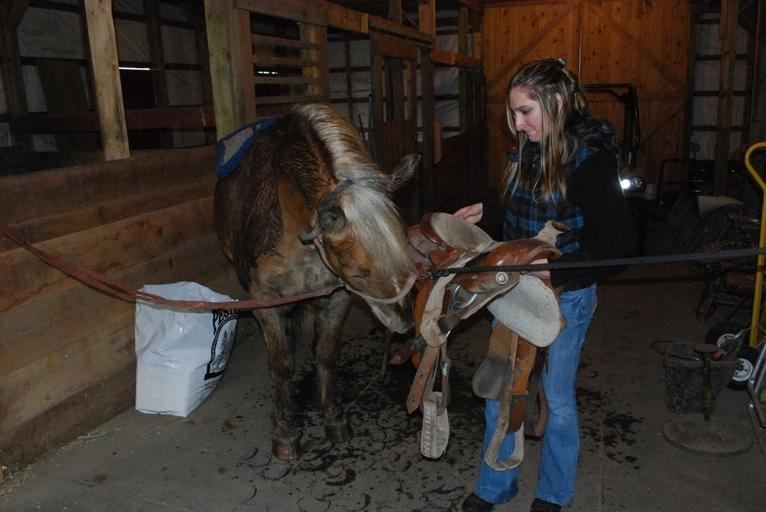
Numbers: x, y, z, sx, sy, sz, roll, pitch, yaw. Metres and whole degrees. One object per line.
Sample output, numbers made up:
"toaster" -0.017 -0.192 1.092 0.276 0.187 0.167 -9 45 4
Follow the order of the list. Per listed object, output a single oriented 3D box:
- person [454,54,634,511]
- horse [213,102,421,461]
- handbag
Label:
"person" 1.015 0.259 3.582 0.805 2.748 0.794 7 19 20
"horse" -0.747 0.121 4.890 1.058 2.619 3.500 -5 19 -24
"handbag" -1.586 0.748 4.619 0.526 0.943 0.971 6 3 13
